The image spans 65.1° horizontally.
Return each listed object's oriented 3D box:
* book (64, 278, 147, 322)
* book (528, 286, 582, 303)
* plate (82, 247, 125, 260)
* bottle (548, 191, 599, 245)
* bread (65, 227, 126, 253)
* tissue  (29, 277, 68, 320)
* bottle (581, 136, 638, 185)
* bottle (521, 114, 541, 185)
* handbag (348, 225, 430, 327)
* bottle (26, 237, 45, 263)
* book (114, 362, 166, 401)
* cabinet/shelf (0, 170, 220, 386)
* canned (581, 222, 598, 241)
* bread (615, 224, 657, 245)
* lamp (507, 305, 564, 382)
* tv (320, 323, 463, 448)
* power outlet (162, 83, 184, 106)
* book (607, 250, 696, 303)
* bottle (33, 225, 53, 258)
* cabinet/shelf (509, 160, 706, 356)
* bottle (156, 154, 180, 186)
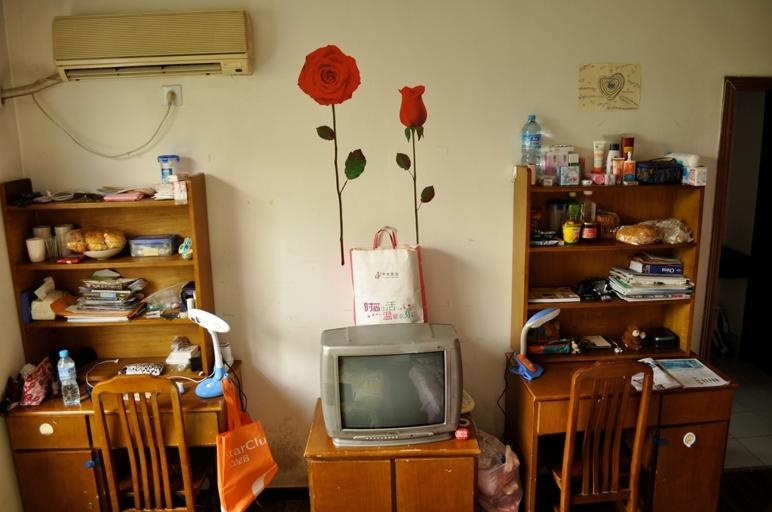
[{"bbox_3d":[-1.842,0.289,3.925,0.526,0.273,0.223,-6,9,-17],"label":"book"},{"bbox_3d":[1.118,0.272,4.073,0.352,0.085,0.162,-3,8,2],"label":"book"},{"bbox_3d":[-1.861,-0.009,3.943,0.220,0.070,0.106,-5,9,-14],"label":"plate"},{"bbox_3d":[1.281,-0.252,4.027,0.335,0.330,0.213,-6,9,-19],"label":"bottle"},{"bbox_3d":[-1.904,-0.093,3.930,0.288,0.101,0.172,0,5,-3],"label":"bread"},{"bbox_3d":[-2.239,0.307,3.957,0.223,0.267,0.397,2,4,-16],"label":"tissue "},{"bbox_3d":[1.466,-0.620,3.962,0.347,0.381,0.127,0,-2,4],"label":"bottle"},{"bbox_3d":[0.968,-0.721,3.986,0.141,0.395,0.127,-11,11,-39],"label":"bottle"},{"bbox_3d":[0.005,0.127,3.946,0.591,0.742,0.290,-6,6,-1],"label":"handbag"},{"bbox_3d":[-2.279,-0.030,3.919,0.114,0.153,0.053,-6,9,-20],"label":"bottle"},{"bbox_3d":[-1.606,0.785,3.941,0.259,0.250,0.074,0,5,0],"label":"book"},{"bbox_3d":[-1.822,0.102,3.936,1.331,1.467,0.442,-2,9,-4],"label":"cabinet/shelf"},{"bbox_3d":[1.331,-0.158,3.979,0.109,0.104,0.108,-1,1,0],"label":"canned"},{"bbox_3d":[1.662,-0.130,3.970,0.276,0.126,0.129,-4,9,-5],"label":"bread"},{"bbox_3d":[0.950,0.549,3.914,0.300,0.435,0.239,7,9,44],"label":"lamp"},{"bbox_3d":[0.015,0.751,3.908,1.082,0.885,0.626,-1,13,0],"label":"tv"},{"bbox_3d":[-1.367,-1.026,3.960,0.179,0.176,0.103,0,8,-2],"label":"power outlet"},{"bbox_3d":[1.764,0.149,4.075,0.515,0.292,0.227,-3,9,-1],"label":"book"},{"bbox_3d":[-2.274,-0.083,4.014,0.148,0.240,0.151,-4,-7,-1],"label":"bottle"},{"bbox_3d":[1.455,-0.025,4.025,1.321,1.372,0.408,0,7,-1],"label":"cabinet/shelf"},{"bbox_3d":[-1.403,-0.556,3.999,0.190,0.218,0.197,-1,5,-37],"label":"bottle"}]
